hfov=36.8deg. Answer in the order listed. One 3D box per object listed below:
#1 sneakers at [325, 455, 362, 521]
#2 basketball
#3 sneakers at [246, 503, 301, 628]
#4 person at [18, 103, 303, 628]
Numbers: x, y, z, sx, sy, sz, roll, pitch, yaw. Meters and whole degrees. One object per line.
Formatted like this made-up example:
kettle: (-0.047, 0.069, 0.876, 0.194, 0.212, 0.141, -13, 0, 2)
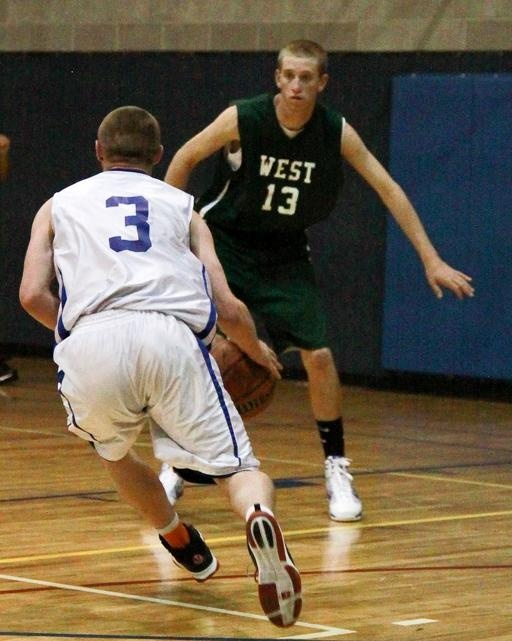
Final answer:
sneakers: (0.260, 0.507, 2.331, 0.103, 0.150, 0.246, 0, -1, 4)
basketball: (-0.035, 0.148, 2.022, 0.191, 0.204, 0.132, -9, -25, -23)
sneakers: (0.022, 0.345, 1.113, 0.077, 0.169, 0.073, -21, -16, -8)
person: (-0.179, 0.034, 1.351, 0.504, 0.947, 0.529, 0, -1, 3)
